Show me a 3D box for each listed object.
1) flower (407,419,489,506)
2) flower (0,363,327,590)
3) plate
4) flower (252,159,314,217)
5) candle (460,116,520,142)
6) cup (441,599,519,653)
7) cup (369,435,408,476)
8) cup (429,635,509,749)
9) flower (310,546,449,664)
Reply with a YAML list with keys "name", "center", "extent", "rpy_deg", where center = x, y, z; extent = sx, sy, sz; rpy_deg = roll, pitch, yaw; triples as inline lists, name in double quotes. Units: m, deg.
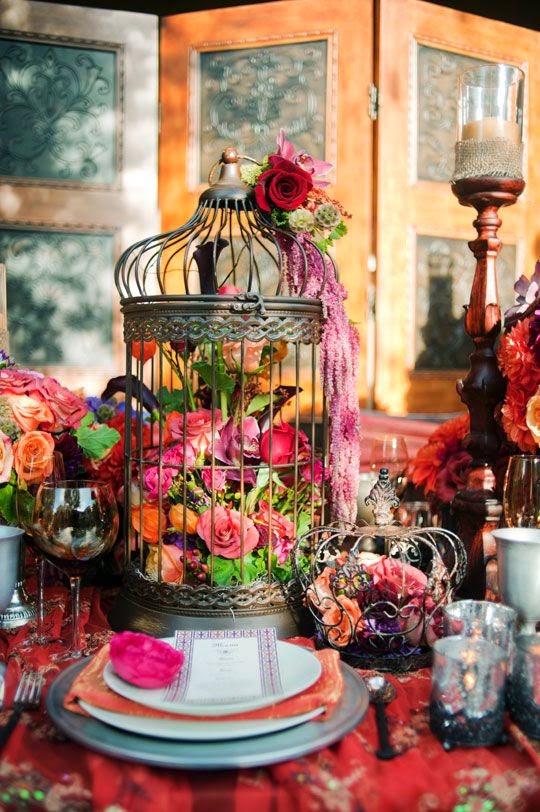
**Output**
- name: "flower"
  center: [0.251, 0.066, 1.203]
  extent: [0.099, 0.061, 0.095]
  rpy_deg: [-21, 3, -1]
- name: "flower"
  center: [-0.125, 0.094, 1.108]
  extent: [0.304, 0.226, 0.349]
  rpy_deg: [2, -8, -5]
- name: "plate"
  center: [-0.055, 0.255, 0.694]
  extent: [0.270, 0.033, 0.158]
  rpy_deg: [2, 7, 2]
- name: "flower"
  center: [0.014, -0.271, 1.018]
  extent: [0.068, 0.067, 0.053]
  rpy_deg: [4, 8, 19]
- name: "candle"
  center: [0.279, -0.348, 1.065]
  extent: [0.075, 0.034, 0.056]
  rpy_deg: [3, 7, 12]
- name: "cup"
  center: [0.182, 0.187, 0.718]
  extent: [0.041, 0.045, 0.046]
  rpy_deg: [1, -4, -1]
- name: "cup"
  center: [0.147, 0.060, 1.031]
  extent: [0.048, 0.046, 0.048]
  rpy_deg: [0, 1, 0]
- name: "cup"
  center: [0.169, 0.247, 0.714]
  extent: [0.066, 0.073, 0.069]
  rpy_deg: [7, -13, 2]
- name: "flower"
  center: [0.125, 0.203, 0.917]
  extent: [0.161, 0.101, 0.164]
  rpy_deg: [-5, -8, 16]
